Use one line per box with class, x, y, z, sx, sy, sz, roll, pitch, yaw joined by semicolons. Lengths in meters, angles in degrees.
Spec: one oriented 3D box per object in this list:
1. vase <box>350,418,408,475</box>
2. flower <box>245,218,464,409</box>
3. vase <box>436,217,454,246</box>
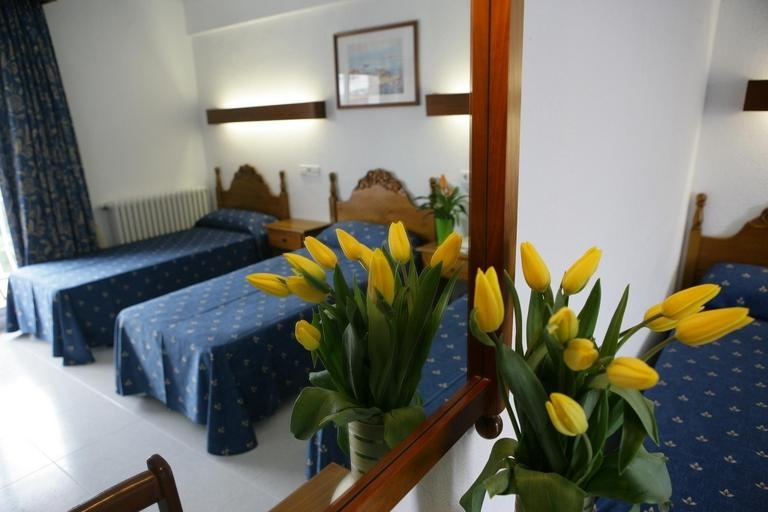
vase;-0.014;0.334;0.945;0.082;0.095;0.085;-12;17;-38
flower;-0.078;0.083;1.018;0.322;0.372;0.298;-15;21;-22
vase;0.111;-0.045;0.963;0.031;0.053;0.034;-11;25;-28
